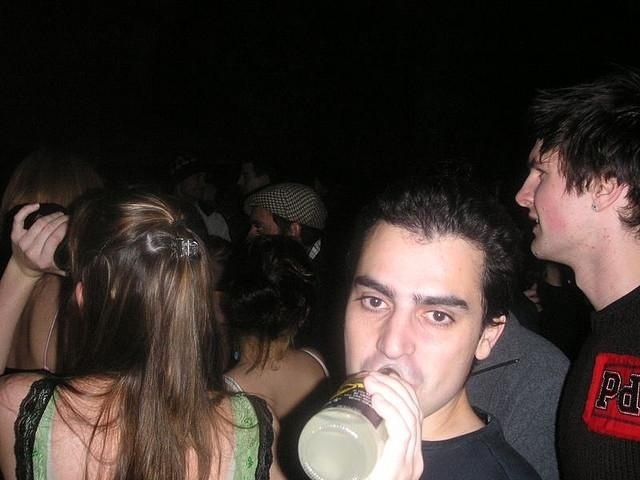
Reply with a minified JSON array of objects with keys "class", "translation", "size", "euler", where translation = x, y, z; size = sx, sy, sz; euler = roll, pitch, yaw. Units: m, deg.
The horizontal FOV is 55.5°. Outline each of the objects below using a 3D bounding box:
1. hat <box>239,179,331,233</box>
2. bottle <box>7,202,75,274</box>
[{"class":"hat","translation":[-0.270,-0.330,4.915],"size":[0.447,0.179,0.482],"euler":[13,-8,35]},{"class":"bottle","translation":[-1.562,0.001,3.377],"size":[0.649,0.391,0.326],"euler":[2,3,28]}]
